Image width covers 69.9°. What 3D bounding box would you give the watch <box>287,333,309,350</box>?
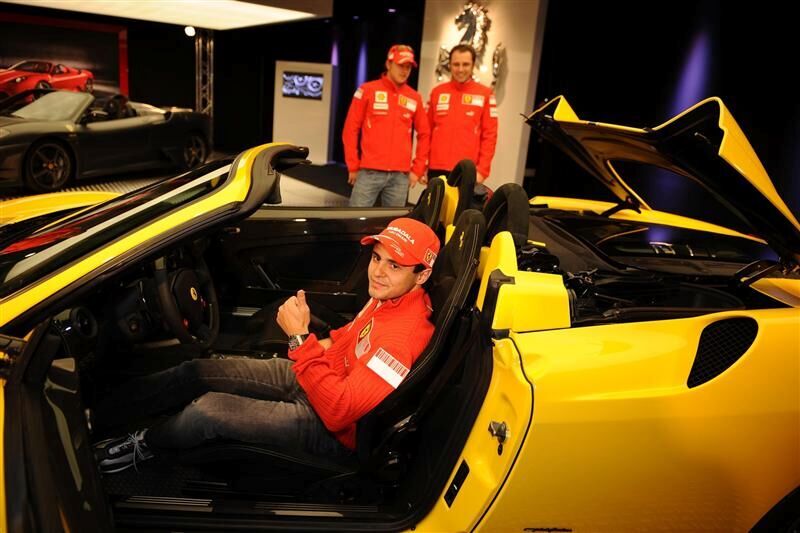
[{"bbox_3d":[-0.462,0.335,2.643,0.095,0.057,0.095,5,-5,-27],"label":"watch"}]

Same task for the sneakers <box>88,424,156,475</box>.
[{"bbox_3d":[-1.247,0.840,2.720,0.353,0.143,0.145,-14,-6,-40],"label":"sneakers"}]

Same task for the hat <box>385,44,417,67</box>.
[{"bbox_3d":[0.006,-1.961,5.424,0.268,0.183,0.375,3,22,-17],"label":"hat"}]

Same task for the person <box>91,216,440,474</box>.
[{"bbox_3d":[-0.621,0.369,2.786,1.676,1.053,0.872,-2,15,-10],"label":"person"}]

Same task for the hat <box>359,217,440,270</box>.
[{"bbox_3d":[0.019,-0.134,2.794,0.296,0.193,0.405,26,12,41],"label":"hat"}]
